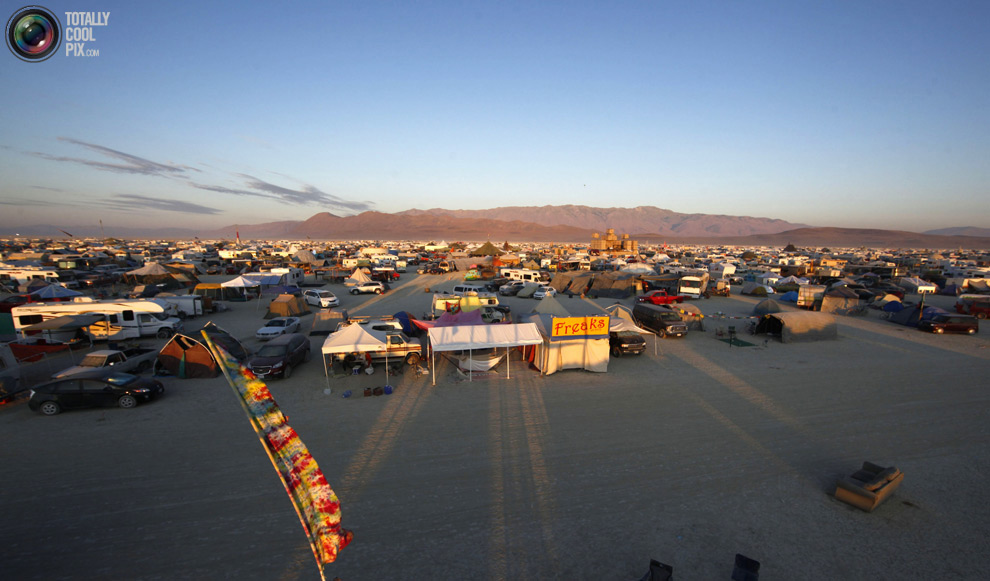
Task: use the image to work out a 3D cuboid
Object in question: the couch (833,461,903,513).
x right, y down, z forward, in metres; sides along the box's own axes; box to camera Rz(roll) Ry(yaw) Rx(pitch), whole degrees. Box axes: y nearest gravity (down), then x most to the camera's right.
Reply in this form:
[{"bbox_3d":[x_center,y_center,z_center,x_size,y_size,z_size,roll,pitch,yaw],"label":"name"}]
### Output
[{"bbox_3d":[13.840,7.140,17.190,2.317,0.669,1.216,-12,15,-32],"label":"couch"}]
